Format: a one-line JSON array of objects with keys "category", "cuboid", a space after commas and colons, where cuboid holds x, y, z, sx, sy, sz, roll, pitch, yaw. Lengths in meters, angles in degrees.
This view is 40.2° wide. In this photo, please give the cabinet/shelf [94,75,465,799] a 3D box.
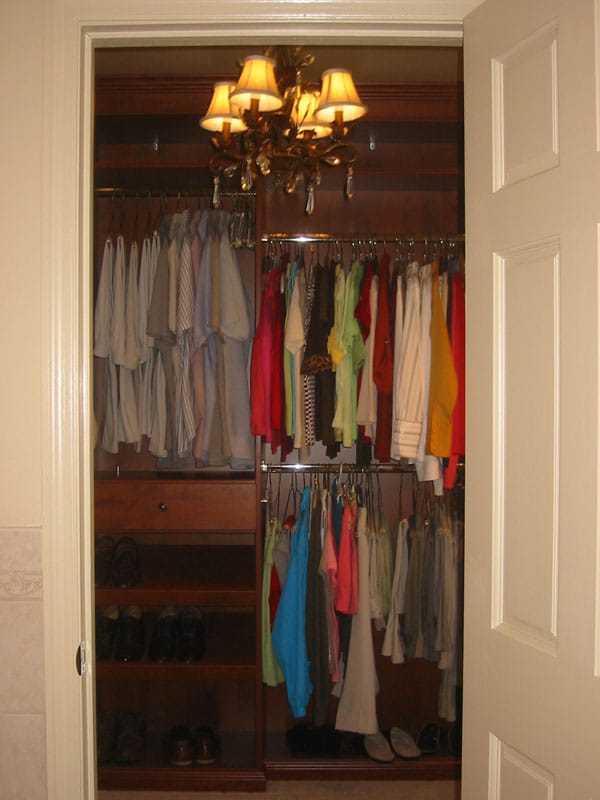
[{"category": "cabinet/shelf", "cuboid": [-0.121, 0.059, 2.905, 1.381, 2.429, 0.752, 1, 1, 4]}]

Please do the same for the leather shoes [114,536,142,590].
[{"category": "leather shoes", "cuboid": [-0.603, 0.573, 2.878, 0.051, 0.096, 0.201, -2, 22, -9]}]
